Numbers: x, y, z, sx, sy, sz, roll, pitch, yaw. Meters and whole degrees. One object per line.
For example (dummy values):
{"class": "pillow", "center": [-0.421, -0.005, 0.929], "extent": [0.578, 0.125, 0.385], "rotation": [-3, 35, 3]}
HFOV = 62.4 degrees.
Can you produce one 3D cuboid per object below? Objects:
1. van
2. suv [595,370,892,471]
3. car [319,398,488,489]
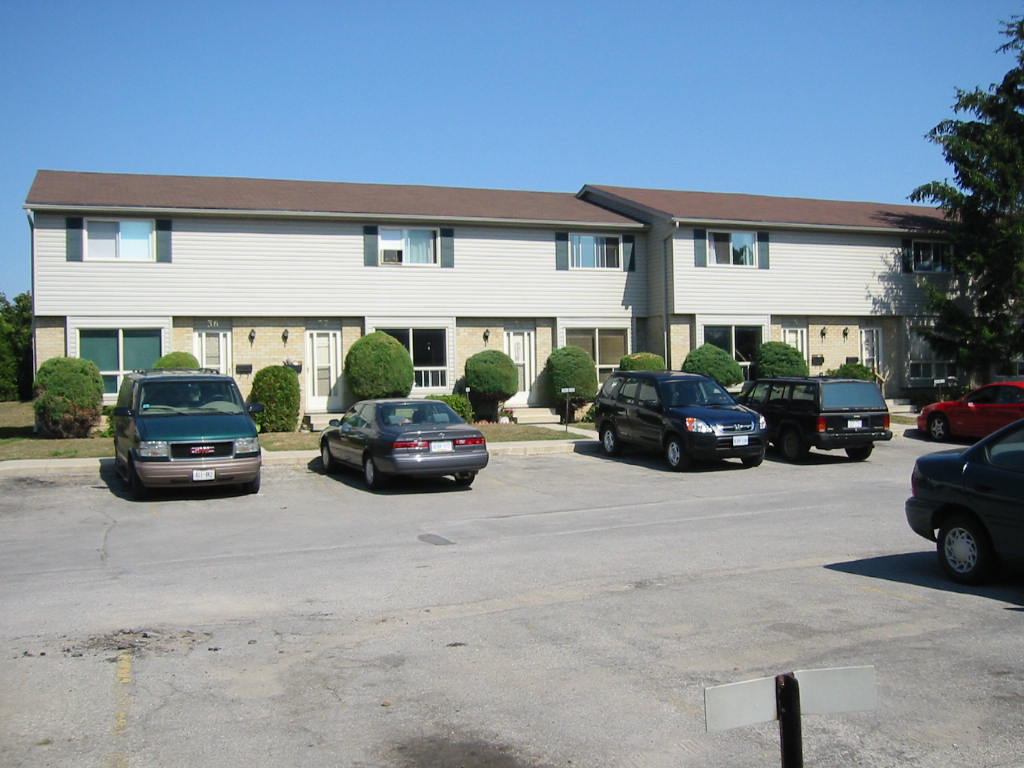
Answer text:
{"class": "van", "center": [-5.861, 0.906, 15.316], "extent": [2.305, 2.179, 2.684], "rotation": [-2, 4, -25]}
{"class": "suv", "center": [5.163, 0.782, 19.092], "extent": [5.799, 2.025, 3.606], "rotation": [0, 3, -4]}
{"class": "car", "center": [-2.216, 1.056, 16.086], "extent": [1.432, 0.987, 3.084], "rotation": [0, 3, -24]}
